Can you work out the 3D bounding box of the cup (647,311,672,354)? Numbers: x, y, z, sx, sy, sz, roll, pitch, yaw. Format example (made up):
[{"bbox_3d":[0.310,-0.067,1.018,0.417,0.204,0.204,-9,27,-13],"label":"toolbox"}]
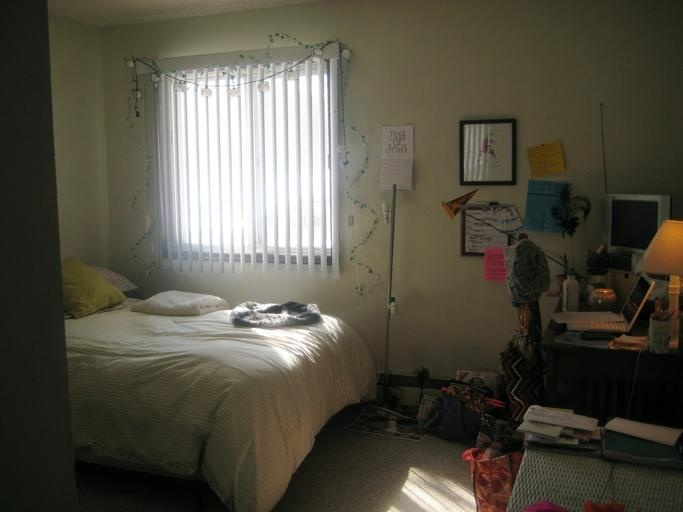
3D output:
[{"bbox_3d":[1.437,0.345,2.497,0.095,0.188,0.059,5,10,15],"label":"cup"}]

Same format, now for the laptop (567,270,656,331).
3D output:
[{"bbox_3d":[1.406,0.271,2.843,0.320,0.229,0.352,-3,0,18],"label":"laptop"}]

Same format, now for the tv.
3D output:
[{"bbox_3d":[1.713,-0.179,3.192,0.057,0.517,0.339,-1,-4,-16],"label":"tv"}]

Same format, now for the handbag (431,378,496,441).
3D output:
[{"bbox_3d":[0.798,1.022,3.707,0.399,0.342,0.342,6,10,22],"label":"handbag"}]
